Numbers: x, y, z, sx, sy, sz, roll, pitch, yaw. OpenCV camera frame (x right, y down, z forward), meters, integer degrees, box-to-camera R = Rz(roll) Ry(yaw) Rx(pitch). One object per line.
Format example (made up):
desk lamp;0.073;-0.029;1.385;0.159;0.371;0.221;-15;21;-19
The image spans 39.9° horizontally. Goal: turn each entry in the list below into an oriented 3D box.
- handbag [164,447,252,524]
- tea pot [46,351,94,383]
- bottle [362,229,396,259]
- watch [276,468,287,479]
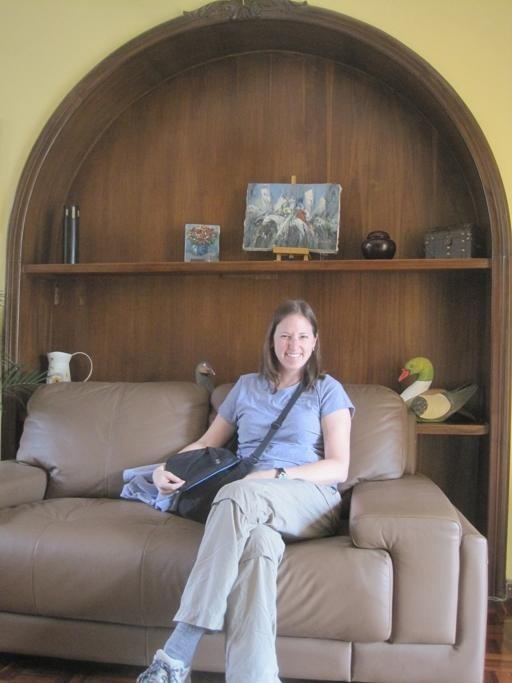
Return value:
handbag;-0.135;0.436;2.320;0.218;0.097;0.266;7;28;43
tea pot;-0.811;0.115;3.131;0.217;0.179;0.112;2;-3;-12
bottle;0.480;-0.386;2.778;0.130;0.109;0.119;2;10;11
watch;0.074;0.414;2.216;0.024;0.028;0.029;-1;9;1
